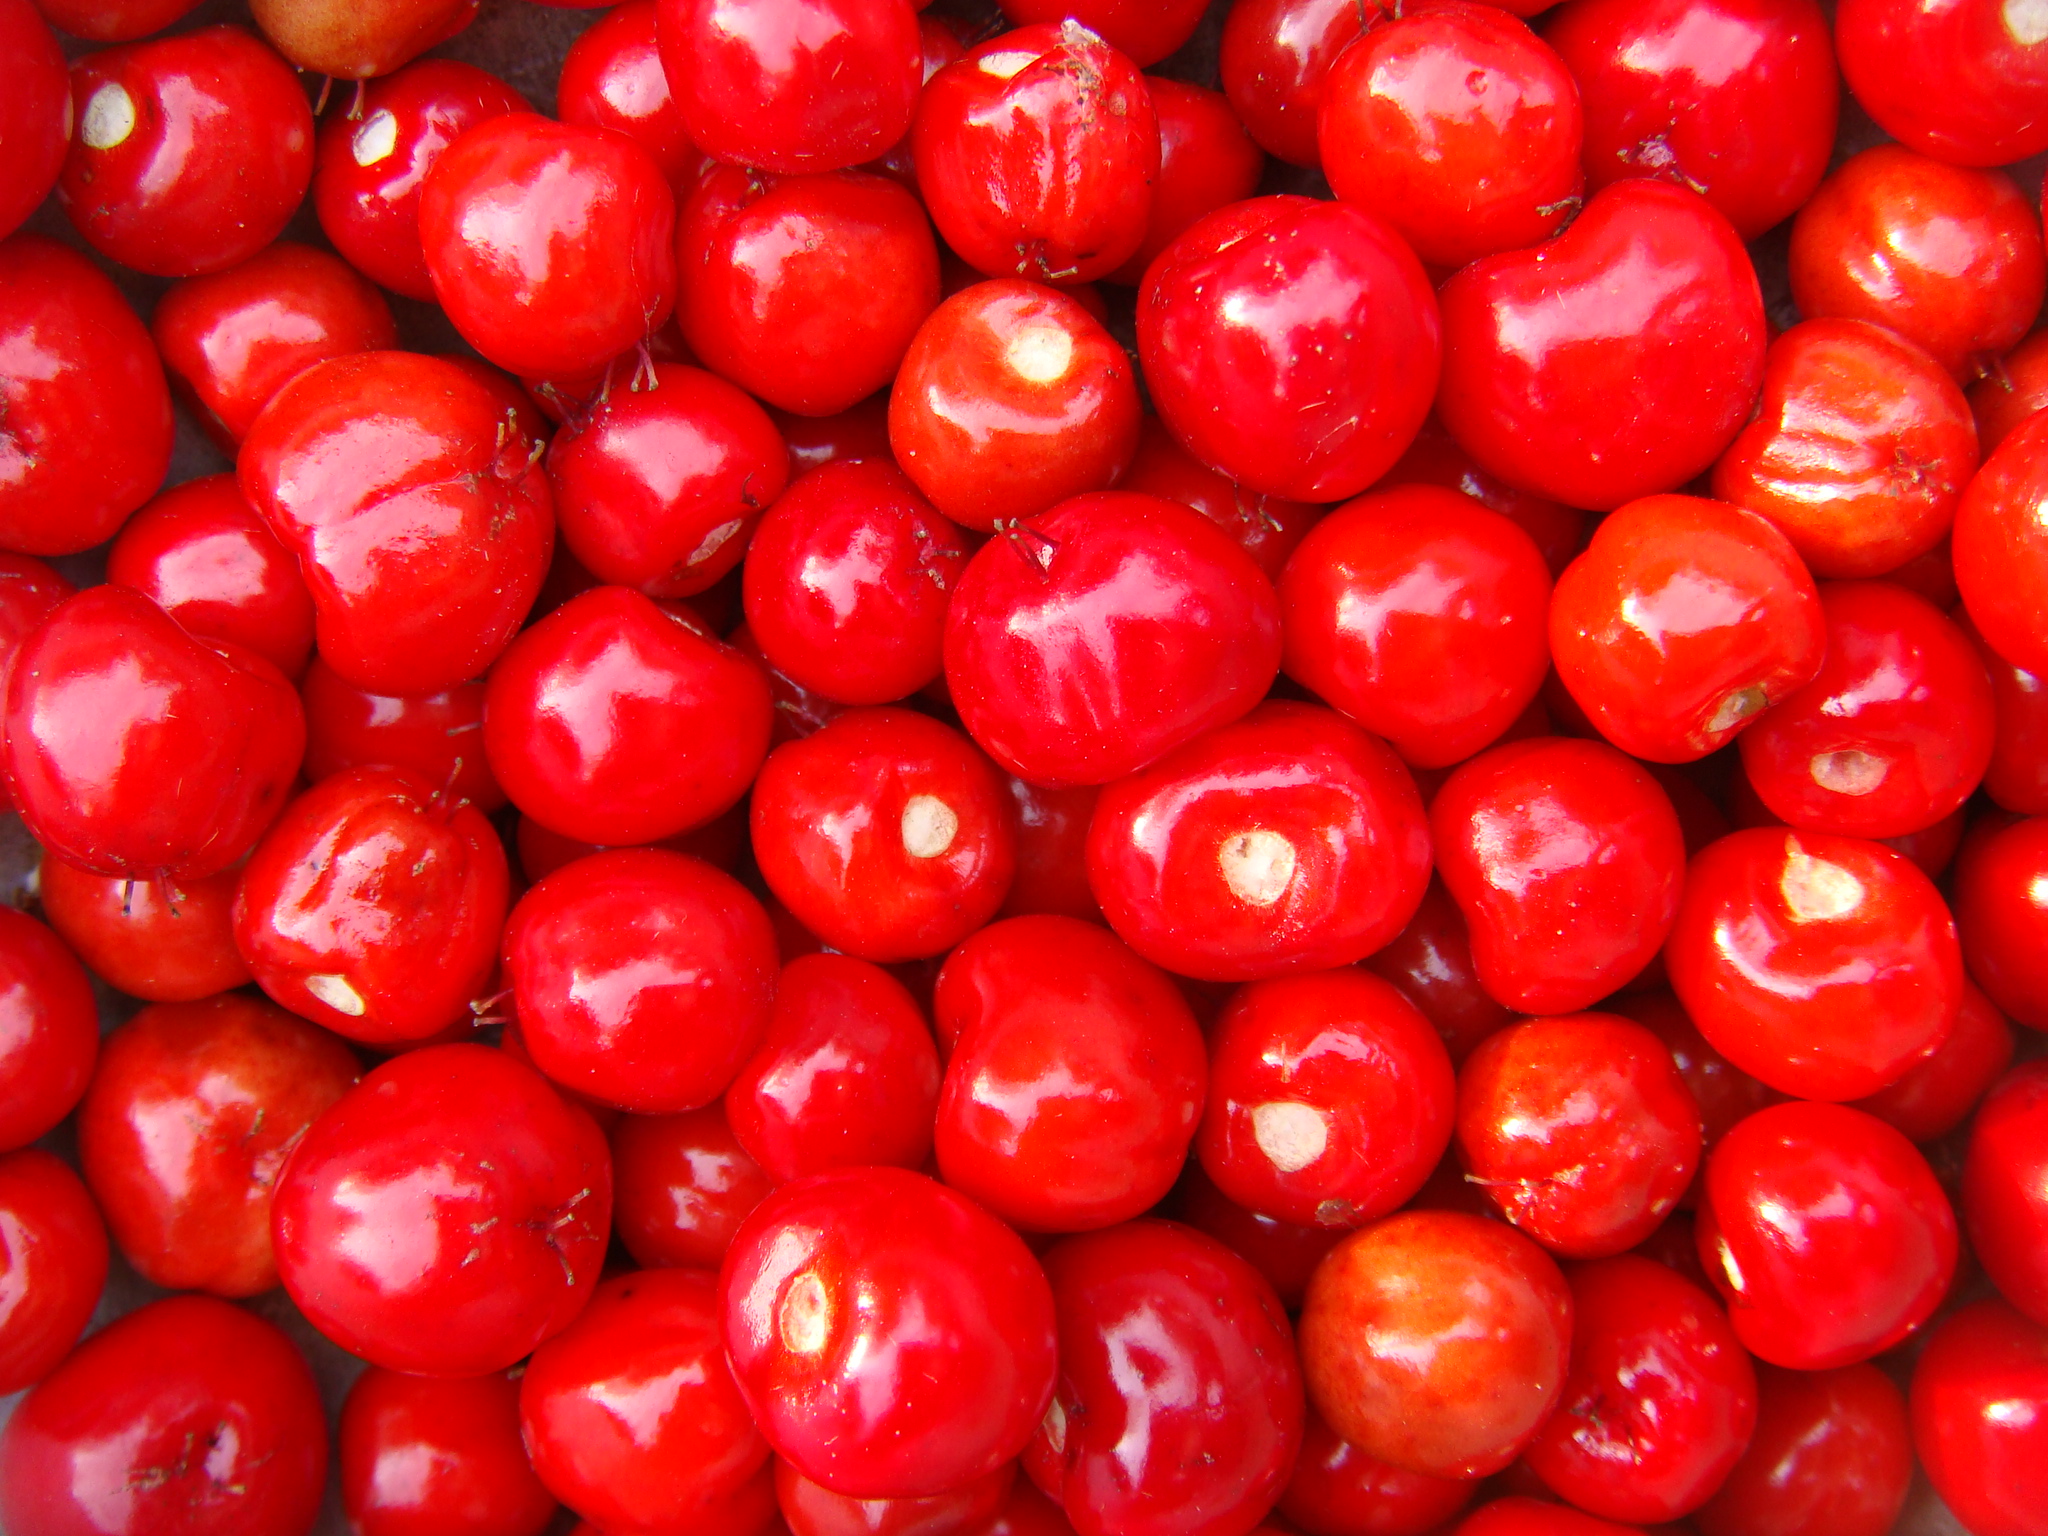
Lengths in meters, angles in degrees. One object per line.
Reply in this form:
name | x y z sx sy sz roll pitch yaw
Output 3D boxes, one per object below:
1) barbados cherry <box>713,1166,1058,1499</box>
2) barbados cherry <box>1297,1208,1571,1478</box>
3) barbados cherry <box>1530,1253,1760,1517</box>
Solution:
barbados cherry | -0.079 0.318 1.198 0.192 0.052 0.183 -6 72 0
barbados cherry | 0.259 0.315 1.315 0.150 0.138 0.170 -27 109 -37
barbados cherry | 0.381 0.398 1.308 0.118 0.080 0.152 28 103 5
